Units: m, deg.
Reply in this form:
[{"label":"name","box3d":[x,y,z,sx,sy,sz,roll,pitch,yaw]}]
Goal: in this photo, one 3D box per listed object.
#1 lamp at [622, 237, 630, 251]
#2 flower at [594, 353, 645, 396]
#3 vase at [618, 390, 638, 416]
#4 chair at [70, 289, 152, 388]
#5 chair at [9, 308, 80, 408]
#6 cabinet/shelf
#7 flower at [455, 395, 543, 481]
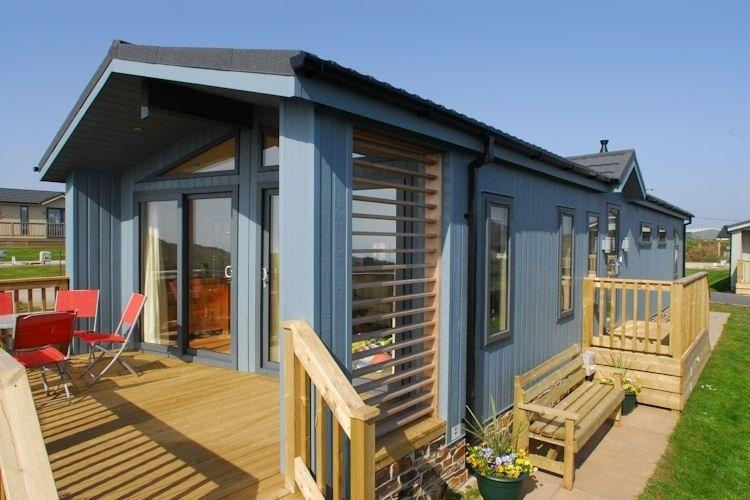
[{"label":"lamp","box3d":[6.237,-0.168,12.758,0.355,0.357,0.187,2,-2,-37]},{"label":"flower","box3d":[4.654,2.367,9.874,0.672,0.783,0.912,0,-24,9]},{"label":"vase","box3d":[4.683,2.786,9.454,0.419,0.402,0.428,1,5,12]},{"label":"chair","box3d":[-4.906,1.420,8.838,0.982,1.265,0.897,16,1,-5]},{"label":"chair","box3d":[-4.681,1.407,7.219,0.774,0.931,0.674,14,4,36]},{"label":"cabinet/shelf","box3d":[-2.862,1.048,9.310,1.050,1.014,0.627,-7,-12,33]},{"label":"flower","box3d":[1.836,2.726,7.470,0.905,0.943,1.176,5,12,36]}]
